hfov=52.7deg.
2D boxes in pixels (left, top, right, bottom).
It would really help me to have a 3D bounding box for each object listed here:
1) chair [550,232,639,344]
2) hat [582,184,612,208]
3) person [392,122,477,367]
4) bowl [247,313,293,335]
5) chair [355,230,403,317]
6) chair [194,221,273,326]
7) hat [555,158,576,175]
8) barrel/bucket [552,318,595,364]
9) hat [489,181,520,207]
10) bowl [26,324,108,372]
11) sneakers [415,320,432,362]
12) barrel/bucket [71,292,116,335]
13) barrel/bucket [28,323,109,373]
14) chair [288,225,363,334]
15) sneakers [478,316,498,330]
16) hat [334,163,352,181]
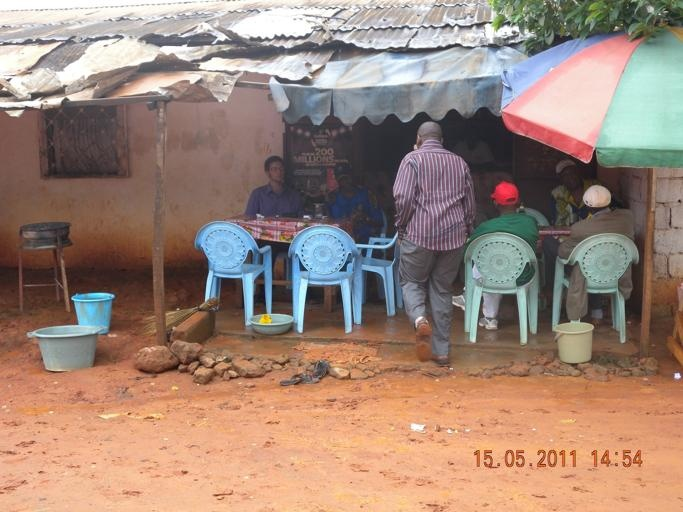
[{"bbox_3d":[2.808,0.316,7.517,0.906,1.086,0.893,1,4,-5],"label":"chair"},{"bbox_3d":[2.800,-0.687,7.531,0.241,0.155,0.290,0,34,19],"label":"hat"},{"bbox_3d":[0.881,-0.134,6.824,0.588,2.458,0.738,1,1,44],"label":"person"},{"bbox_3d":[-0.797,0.784,7.882,0.521,0.225,0.401,0,0,-4],"label":"bowl"},{"bbox_3d":[0.436,0.164,8.571,0.701,0.795,0.735,6,12,38],"label":"chair"},{"bbox_3d":[-1.267,0.124,8.221,0.973,1.114,0.954,-5,14,-34],"label":"chair"},{"bbox_3d":[2.864,-1.151,8.828,0.216,0.137,0.283,-21,-29,16],"label":"hat"},{"bbox_3d":[2.349,0.890,6.922,0.412,0.286,0.407,-2,0,0],"label":"barrel/bucket"},{"bbox_3d":[1.826,-0.687,7.637,0.266,0.189,0.359,-7,19,5],"label":"hat"},{"bbox_3d":[-2.816,0.982,7.122,0.645,0.348,0.616,-3,-3,0],"label":"bowl"},{"bbox_3d":[0.763,0.803,6.572,0.148,0.380,0.162,-5,4,0],"label":"sneakers"},{"bbox_3d":[-2.922,0.670,8.091,0.594,0.427,0.508,-3,8,-16],"label":"barrel/bucket"},{"bbox_3d":[-2.784,0.987,7.103,0.733,0.349,0.586,-4,-8,-11],"label":"barrel/bucket"},{"bbox_3d":[-0.211,0.226,7.963,0.965,1.050,0.976,-2,0,36],"label":"chair"},{"bbox_3d":[1.673,0.767,7.907,0.104,0.100,0.237,-6,14,-32],"label":"sneakers"},{"bbox_3d":[0.042,-1.136,9.108,0.198,0.235,0.212,-4,43,5],"label":"hat"}]
